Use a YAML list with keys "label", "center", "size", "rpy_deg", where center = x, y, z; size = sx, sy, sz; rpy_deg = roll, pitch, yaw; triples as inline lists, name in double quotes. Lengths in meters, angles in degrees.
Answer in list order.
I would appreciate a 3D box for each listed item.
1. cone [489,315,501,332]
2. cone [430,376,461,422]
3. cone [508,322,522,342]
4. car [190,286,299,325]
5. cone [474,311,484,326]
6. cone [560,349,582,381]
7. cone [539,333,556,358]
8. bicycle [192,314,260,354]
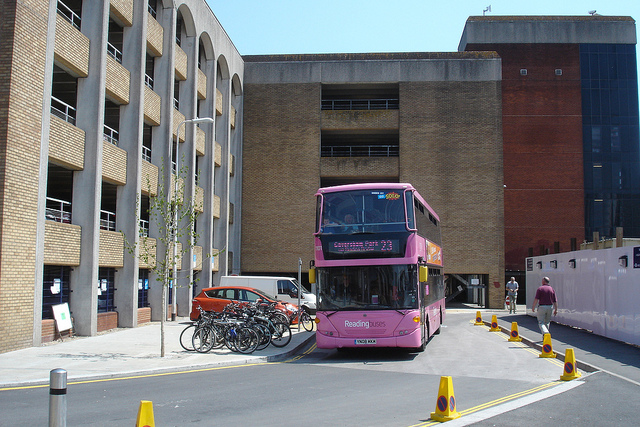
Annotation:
- label: "cone"
  center: [8.655, 5.318, 33.717]
  size: [0.624, 0.711, 0.576]
  rpy_deg: [-3, -3, 24]
- label: "cone"
  center: [3.625, 4.949, 18.664]
  size: [0.987, 1.302, 0.971]
  rpy_deg: [2, -5, -5]
- label: "cone"
  center: [8.406, 5.019, 29.500]
  size: [0.569, 0.809, 0.745]
  rpy_deg: [-4, -7, 15]
- label: "car"
  center: [-4.394, 4.567, 34.069]
  size: [4.880, 1.910, 1.996]
  rpy_deg: [-1, -3, 4]
- label: "cone"
  center: [8.614, 5.563, 36.983]
  size: [0.497, 0.750, 0.964]
  rpy_deg: [-3, -7, 13]
- label: "cone"
  center: [7.986, 4.718, 21.833]
  size: [0.516, 0.954, 0.812]
  rpy_deg: [-6, -8, 36]
- label: "cone"
  center: [8.394, 4.794, 25.248]
  size: [0.616, 0.857, 0.426]
  rpy_deg: [-2, -6, 1]
- label: "bicycle"
  center: [-3.661, 4.759, 26.922]
  size: [2.480, 1.308, 0.510]
  rpy_deg: [-2, -6, 1]
